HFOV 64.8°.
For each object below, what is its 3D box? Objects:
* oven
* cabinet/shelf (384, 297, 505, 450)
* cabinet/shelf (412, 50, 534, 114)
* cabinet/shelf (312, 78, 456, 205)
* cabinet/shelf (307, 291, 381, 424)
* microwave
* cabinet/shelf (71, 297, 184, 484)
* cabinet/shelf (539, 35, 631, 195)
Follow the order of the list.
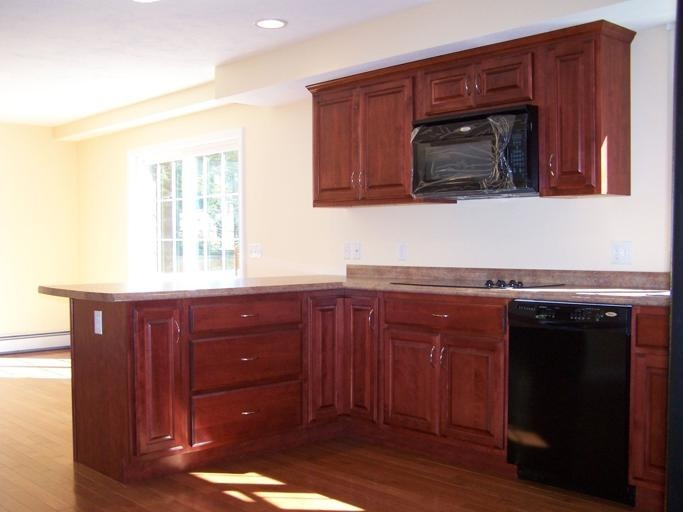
[{"bbox_3d":[1.311,0.804,3.334,0.883,1.249,0.920,-1,-3,40],"label":"oven"},{"bbox_3d":[0.793,0.727,3.543,0.526,0.941,1.023,3,-4,-42],"label":"cabinet/shelf"},{"bbox_3d":[0.882,-1.129,3.466,0.565,0.220,0.112,1,2,41],"label":"cabinet/shelf"},{"bbox_3d":[0.343,-0.832,3.876,1.022,0.900,0.393,2,3,40],"label":"cabinet/shelf"},{"bbox_3d":[0.016,0.702,3.777,0.476,0.891,0.171,0,2,4],"label":"cabinet/shelf"},{"bbox_3d":[0.914,-0.671,3.588,0.440,0.529,0.880,-7,9,-42],"label":"microwave"},{"bbox_3d":[-1.352,0.775,3.255,0.751,1.034,0.300,1,2,23],"label":"cabinet/shelf"},{"bbox_3d":[1.500,-0.824,3.170,0.559,0.923,0.257,0,2,-10],"label":"cabinet/shelf"}]
